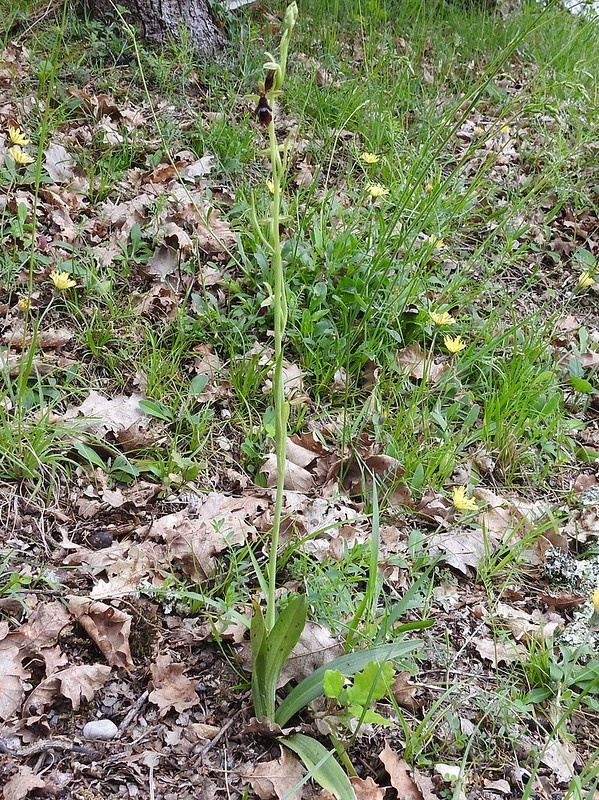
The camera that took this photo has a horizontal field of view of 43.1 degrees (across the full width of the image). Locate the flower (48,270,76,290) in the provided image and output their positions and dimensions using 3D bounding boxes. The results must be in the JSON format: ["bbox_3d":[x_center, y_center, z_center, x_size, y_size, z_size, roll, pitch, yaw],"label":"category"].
[{"bbox_3d":[-0.898,-0.449,2.867,0.102,0.046,0.097,8,50,-35],"label":"flower"}]

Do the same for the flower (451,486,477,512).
[{"bbox_3d":[0.562,0.340,2.596,0.043,0.093,0.089,-35,56,6],"label":"flower"}]
